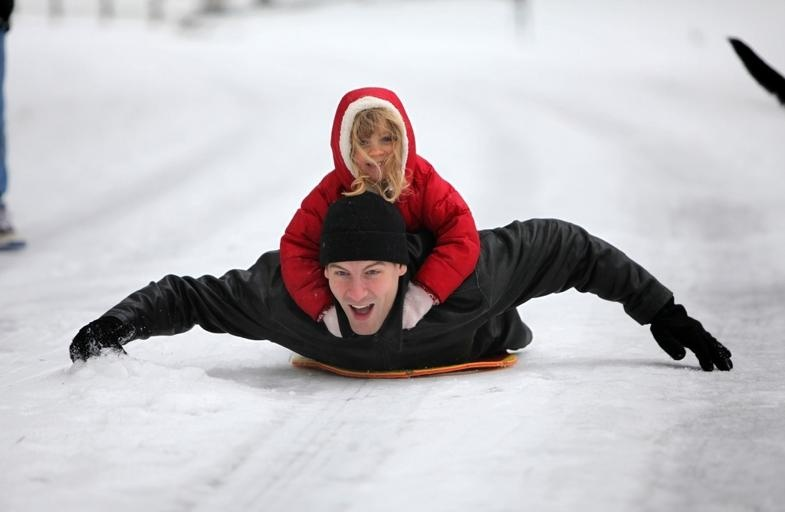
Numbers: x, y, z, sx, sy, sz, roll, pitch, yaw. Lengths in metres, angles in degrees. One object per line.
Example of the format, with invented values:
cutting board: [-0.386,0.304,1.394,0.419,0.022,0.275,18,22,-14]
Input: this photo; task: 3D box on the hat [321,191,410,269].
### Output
hat: [-0.132,-0.114,4.162,0.353,0.281,0.358,0,-6,-1]

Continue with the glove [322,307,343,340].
glove: [-0.275,0.324,4.160,0.060,0.136,0.101,-15,19,31]

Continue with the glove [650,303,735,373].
glove: [1.430,0.432,4.326,0.258,0.413,0.113,-49,12,-26]

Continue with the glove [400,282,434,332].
glove: [0.123,0.236,4.097,0.156,0.219,0.080,-1,13,2]
